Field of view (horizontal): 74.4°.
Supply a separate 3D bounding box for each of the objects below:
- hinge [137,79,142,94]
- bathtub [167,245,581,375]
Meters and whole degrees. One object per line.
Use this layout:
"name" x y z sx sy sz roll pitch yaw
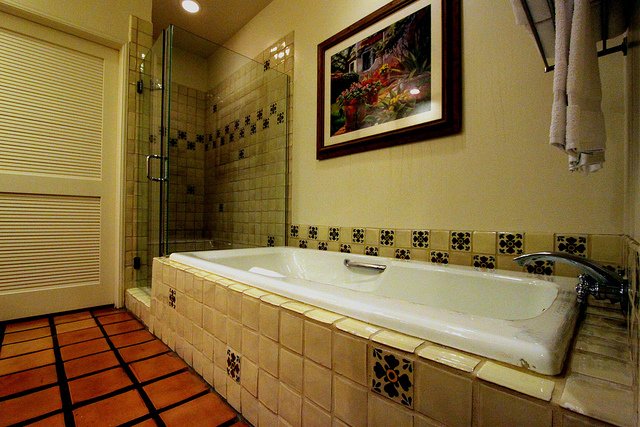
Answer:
"hinge" -1.487 -1.036 3.450 0.047 0.085 0.020 4 4 21
"bathtub" 0.318 0.444 2.292 1.862 0.293 0.939 3 3 32
